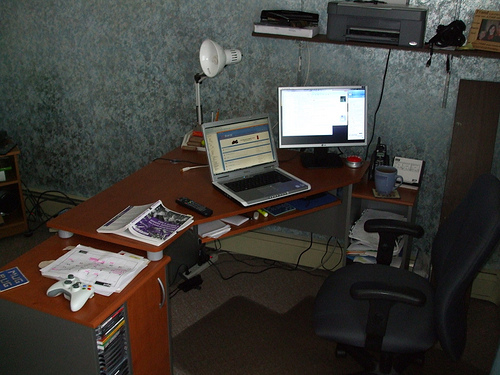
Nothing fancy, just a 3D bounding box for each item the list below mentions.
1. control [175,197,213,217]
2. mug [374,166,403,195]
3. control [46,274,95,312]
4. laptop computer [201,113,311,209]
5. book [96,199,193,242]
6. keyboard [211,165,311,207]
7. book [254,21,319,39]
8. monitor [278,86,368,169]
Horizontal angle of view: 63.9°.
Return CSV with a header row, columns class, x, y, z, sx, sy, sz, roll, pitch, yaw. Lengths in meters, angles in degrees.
class,x,y,z,sx,sy,sz,roll,pitch,yaw
control,-0.324,0.099,2.295,0.283,0.032,0.087,22,35,35
mug,0.898,-0.050,2.682,0.199,0.162,0.162,14,33,28
control,-0.798,0.456,1.795,0.197,0.086,0.137,14,25,28
laptop computer,0.035,-0.186,2.484,0.529,0.434,0.497,-10,24,-26
book,-0.539,0.182,2.134,0.253,0.065,0.271,8,27,16
keyboard,0.070,-0.014,2.491,0.533,0.089,0.342,-10,25,-26
book,0.248,-1.095,2.780,0.455,0.094,0.181,4,22,6
monitor,0.507,-0.432,2.811,0.605,0.564,0.278,-1,22,6
